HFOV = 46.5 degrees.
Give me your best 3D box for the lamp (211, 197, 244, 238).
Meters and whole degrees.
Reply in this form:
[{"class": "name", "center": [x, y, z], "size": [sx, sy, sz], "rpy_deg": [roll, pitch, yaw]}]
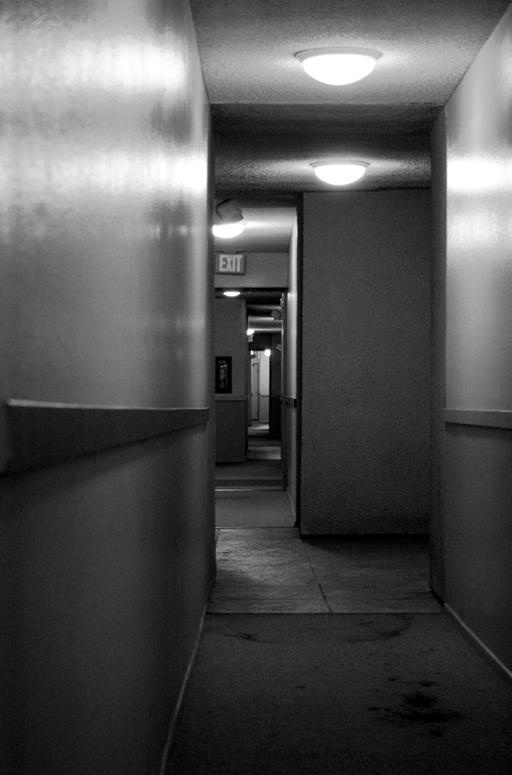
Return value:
[{"class": "lamp", "center": [-0.286, -1.803, 6.280], "size": [0.309, 0.309, 0.963], "rpy_deg": [1, -3, -4]}]
